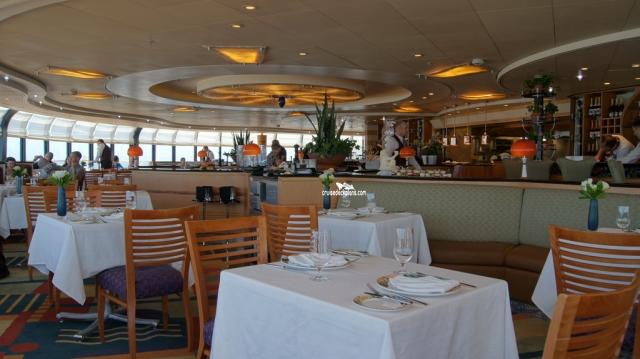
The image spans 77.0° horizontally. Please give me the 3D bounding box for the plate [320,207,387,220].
[{"bbox_3d":[0.459,0.433,5.432,0.876,0.105,0.511,-3,1,-38],"label":"plate"}]

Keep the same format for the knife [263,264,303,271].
[{"bbox_3d":[-0.321,0.774,3.536,0.371,0.015,0.063,-1,14,33],"label":"knife"}]

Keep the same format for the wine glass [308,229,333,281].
[{"bbox_3d":[0.001,0.628,3.405,0.167,0.424,0.233,-3,2,-2],"label":"wine glass"}]

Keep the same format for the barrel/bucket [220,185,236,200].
[{"bbox_3d":[-2.013,0.292,8.666,0.372,0.280,0.290,-1,0,7],"label":"barrel/bucket"}]

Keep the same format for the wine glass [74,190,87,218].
[{"bbox_3d":[-3.017,0.273,5.070,0.124,0.236,0.187,-4,2,-29],"label":"wine glass"}]

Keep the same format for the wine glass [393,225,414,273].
[{"bbox_3d":[0.712,0.597,3.409,0.158,0.397,0.245,-3,2,12],"label":"wine glass"}]

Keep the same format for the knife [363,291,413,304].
[{"bbox_3d":[0.549,0.923,3.151,0.113,0.019,0.456,-3,5,-30],"label":"knife"}]
